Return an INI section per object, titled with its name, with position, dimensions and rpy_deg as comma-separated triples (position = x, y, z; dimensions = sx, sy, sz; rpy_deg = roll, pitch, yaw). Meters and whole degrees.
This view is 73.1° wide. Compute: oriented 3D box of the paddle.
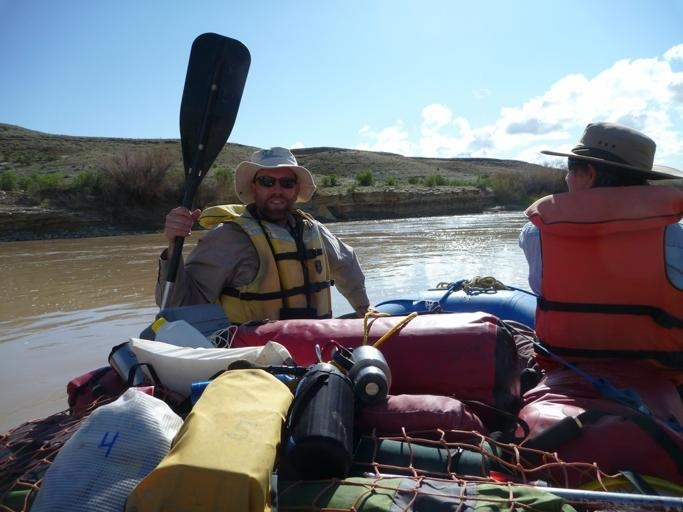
[paddle]
position = -0.909, -0.779, 3.327
dimensions = 0.415, 1.904, 0.101
rpy_deg = 1, -24, -20

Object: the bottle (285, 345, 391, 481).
[bottle]
position = -0.006, 0.629, 1.804
dimensions = 0.392, 0.259, 0.589
rpy_deg = -10, 13, 7

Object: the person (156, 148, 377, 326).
[person]
position = -0.538, -0.159, 3.482
dimensions = 1.617, 1.327, 0.814
rpy_deg = -8, 10, -42
